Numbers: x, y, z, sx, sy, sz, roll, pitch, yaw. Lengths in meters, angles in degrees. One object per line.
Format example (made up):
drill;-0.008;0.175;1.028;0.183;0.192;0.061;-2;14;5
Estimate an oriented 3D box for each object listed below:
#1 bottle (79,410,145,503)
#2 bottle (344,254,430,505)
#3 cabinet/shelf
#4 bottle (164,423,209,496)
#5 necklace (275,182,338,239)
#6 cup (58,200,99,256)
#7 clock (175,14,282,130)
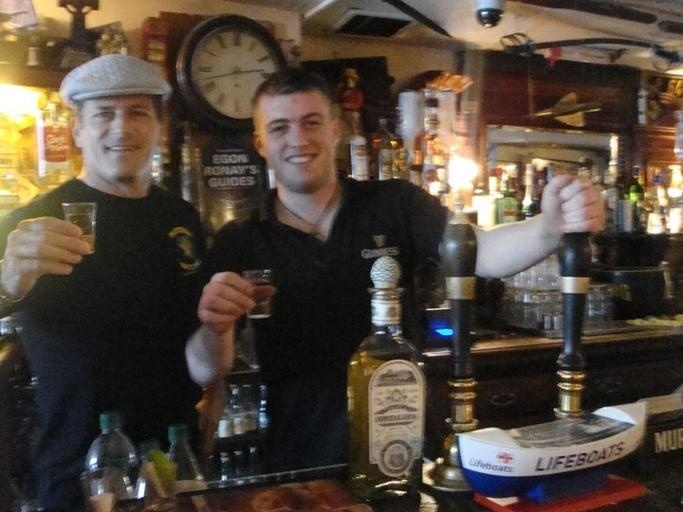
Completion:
bottle;-0.527;0.448;1.523;0.130;0.140;0.152;-5;3;-19
bottle;0.100;0.281;1.597;0.213;0.560;0.114;-5;3;-13
cabinet/shelf;0.904;0.636;4.053;2.280;0.549;0.480;-1;3;-26
bottle;-0.380;0.475;1.629;0.084;0.105;0.157;-5;3;-16
necklace;-0.127;-0.174;2.486;0.196;0.186;0.081;-14;3;-14
cup;-0.776;-0.089;1.999;0.086;0.110;0.177;-5;3;-19
clock;-0.553;-0.985;3.635;0.772;0.553;0.078;13;23;31
